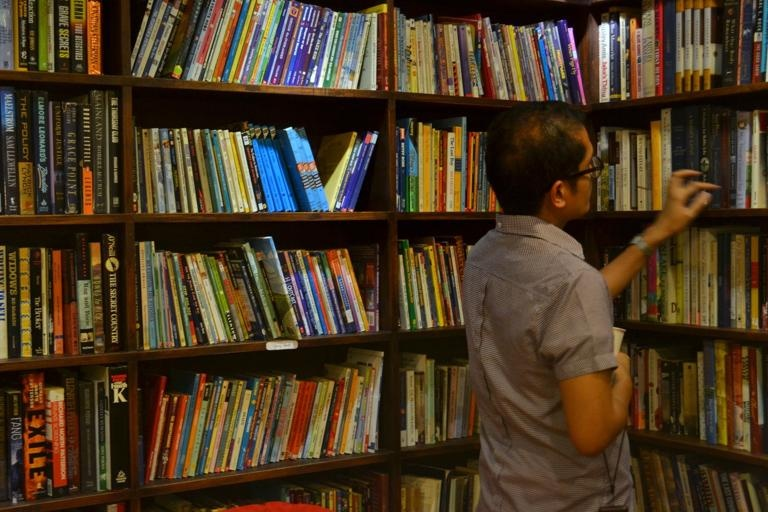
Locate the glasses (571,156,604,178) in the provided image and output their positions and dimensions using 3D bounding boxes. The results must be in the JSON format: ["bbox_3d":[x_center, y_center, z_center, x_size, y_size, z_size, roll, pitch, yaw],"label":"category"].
[{"bbox_3d":[0.601,-0.258,2.225,0.091,0.084,0.025,-16,-84,0],"label":"glasses"}]
